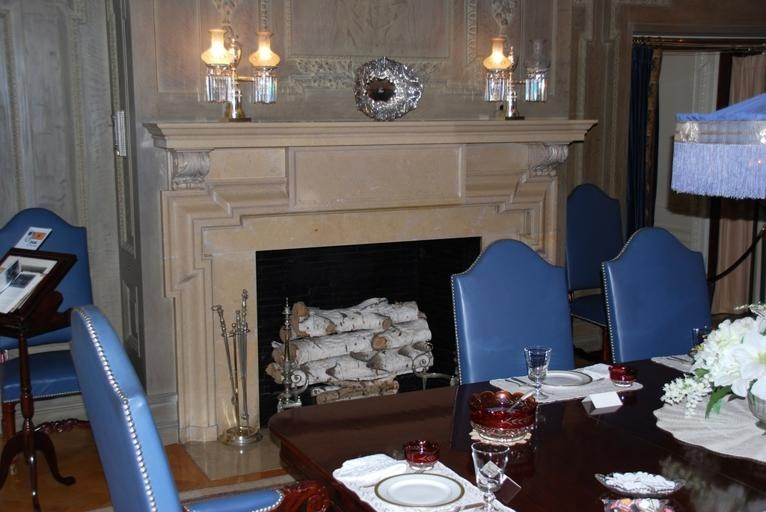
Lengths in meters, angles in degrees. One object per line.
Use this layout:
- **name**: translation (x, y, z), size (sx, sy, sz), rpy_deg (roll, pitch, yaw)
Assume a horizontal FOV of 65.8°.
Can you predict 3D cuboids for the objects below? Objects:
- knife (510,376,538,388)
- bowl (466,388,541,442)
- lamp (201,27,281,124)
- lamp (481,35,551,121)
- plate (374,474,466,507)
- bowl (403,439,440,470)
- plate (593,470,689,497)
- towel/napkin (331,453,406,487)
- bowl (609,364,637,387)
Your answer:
- **knife**: translation (0.569, 0.501, 2.386), size (0.032, 0.006, 0.109), rpy_deg (-4, 4, -20)
- **bowl**: translation (0.397, 0.555, 2.048), size (0.248, 0.123, 0.264), rpy_deg (-2, -1, 0)
- **lamp**: translation (-0.865, -1.058, 3.547), size (0.431, 0.524, 0.274), rpy_deg (3, 21, -4)
- **lamp**: translation (0.924, -1.264, 4.201), size (0.431, 0.590, 0.494), rpy_deg (1, 14, 10)
- **plate**: translation (0.105, 0.661, 1.680), size (0.254, 0.015, 0.143), rpy_deg (-1, 13, 3)
- **bowl**: translation (0.118, 0.598, 1.793), size (0.079, 0.053, 0.081), rpy_deg (1, 15, 0)
- **plate**: translation (0.724, 0.638, 1.659), size (0.113, 0.020, 0.100), rpy_deg (3, 3, 9)
- **towel/napkin**: translation (-0.054, 0.656, 1.848), size (0.212, 0.055, 0.225), rpy_deg (-15, -7, 21)
- **bowl**: translation (0.971, 0.480, 2.396), size (0.085, 0.058, 0.076), rpy_deg (0, 8, -13)
